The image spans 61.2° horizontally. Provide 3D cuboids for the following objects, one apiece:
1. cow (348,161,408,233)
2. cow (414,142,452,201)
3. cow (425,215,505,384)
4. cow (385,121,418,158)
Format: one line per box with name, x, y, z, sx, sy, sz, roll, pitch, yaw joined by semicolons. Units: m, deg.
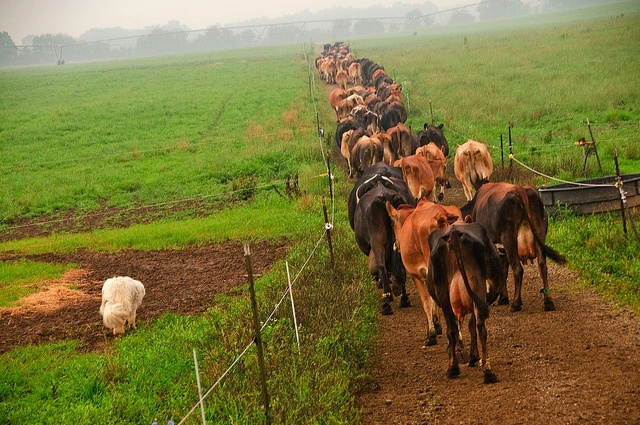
cow;1.748;-0.791;17.375;1.219;1.497;2.688;2;13;3
cow;4.539;-2.346;22.471;0.966;1.982;3.498;-5;14;15
cow;3.014;1.840;11.222;1.500;3.128;1.159;-1;14;18
cow;3.765;-3.267;24.837;0.950;1.512;1.443;-18;18;-42
